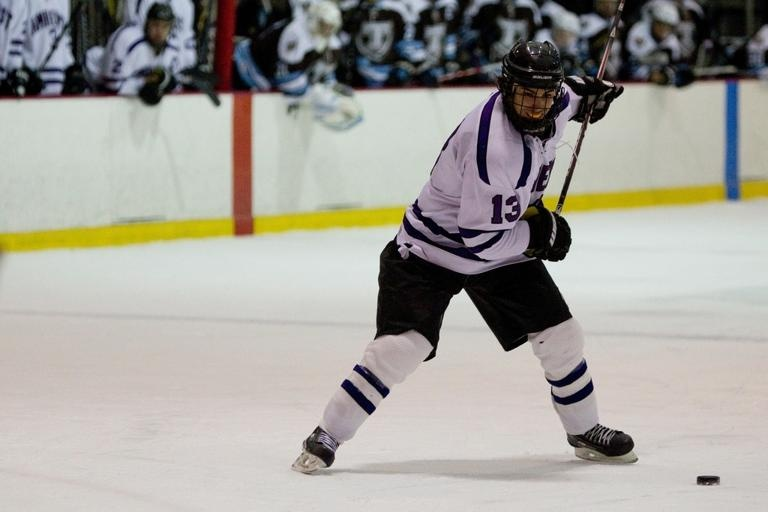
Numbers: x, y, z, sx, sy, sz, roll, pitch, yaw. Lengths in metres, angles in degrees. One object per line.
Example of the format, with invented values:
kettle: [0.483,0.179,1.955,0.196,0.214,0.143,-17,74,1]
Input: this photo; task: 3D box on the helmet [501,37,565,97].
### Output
helmet: [0.627,-0.790,4.540,0.256,0.204,0.245,-3,40,-5]

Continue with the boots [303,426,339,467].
boots: [-0.269,0.838,4.664,0.119,0.129,0.193,35,-2,-9]

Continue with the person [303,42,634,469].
person: [0.406,0.012,4.609,1.408,1.861,0.414,-1,15,-5]

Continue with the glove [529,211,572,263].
glove: [0.715,-0.074,4.716,0.221,0.165,0.229,10,-13,-17]

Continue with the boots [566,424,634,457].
boots: [0.971,0.839,4.825,0.338,0.138,0.121,-3,14,31]
